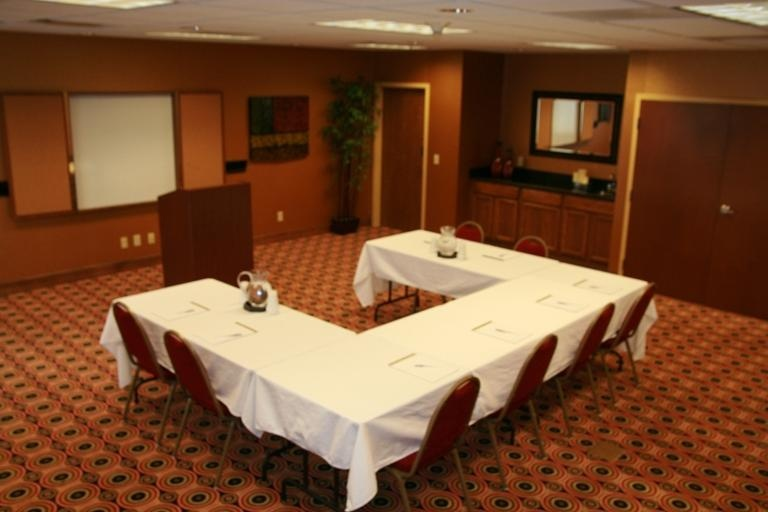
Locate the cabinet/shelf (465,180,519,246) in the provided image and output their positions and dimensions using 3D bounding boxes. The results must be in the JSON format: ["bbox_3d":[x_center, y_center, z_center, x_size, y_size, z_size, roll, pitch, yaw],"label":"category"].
[{"bbox_3d":[1.941,-0.768,9.544,1.022,0.988,0.538,16,22,43],"label":"cabinet/shelf"}]

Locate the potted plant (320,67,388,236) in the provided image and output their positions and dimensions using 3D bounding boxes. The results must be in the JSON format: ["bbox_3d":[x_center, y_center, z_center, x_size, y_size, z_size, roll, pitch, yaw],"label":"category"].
[{"bbox_3d":[-0.629,-1.988,10.742,1.198,2.938,0.628,-20,28,-40],"label":"potted plant"}]

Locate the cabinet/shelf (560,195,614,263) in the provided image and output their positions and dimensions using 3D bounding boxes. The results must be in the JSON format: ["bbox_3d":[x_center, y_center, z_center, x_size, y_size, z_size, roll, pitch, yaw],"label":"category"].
[{"bbox_3d":[3.345,-0.465,8.852,0.885,0.821,0.499,16,25,40],"label":"cabinet/shelf"}]

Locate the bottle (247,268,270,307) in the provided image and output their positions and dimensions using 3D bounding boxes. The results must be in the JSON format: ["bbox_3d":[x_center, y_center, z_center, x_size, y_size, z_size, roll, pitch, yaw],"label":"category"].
[{"bbox_3d":[-1.174,0.315,5.067,0.243,0.318,0.316,1,3,-6],"label":"bottle"}]
